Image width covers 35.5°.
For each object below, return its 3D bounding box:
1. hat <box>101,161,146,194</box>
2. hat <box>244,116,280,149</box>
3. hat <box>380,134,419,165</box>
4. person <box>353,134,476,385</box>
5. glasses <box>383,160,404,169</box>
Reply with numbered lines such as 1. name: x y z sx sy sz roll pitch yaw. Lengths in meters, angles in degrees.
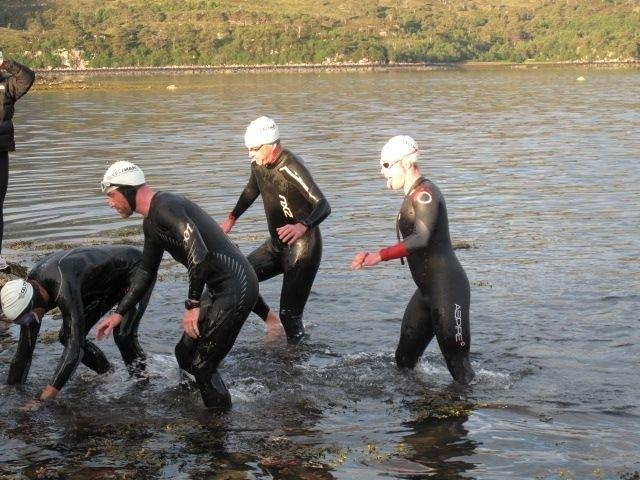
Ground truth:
1. hat: -2.315 -0.745 11.571 0.572 0.291 0.338 -17 19 -8
2. hat: -0.802 -1.439 13.258 0.409 0.324 0.547 8 20 39
3. hat: 0.915 -1.084 12.073 0.541 0.318 0.326 -8 7 6
4. person: 1.250 0.327 12.081 1.159 3.140 1.053 1 18 6
5. glasses: 0.824 -0.896 11.949 0.143 0.032 0.126 -17 5 -28
